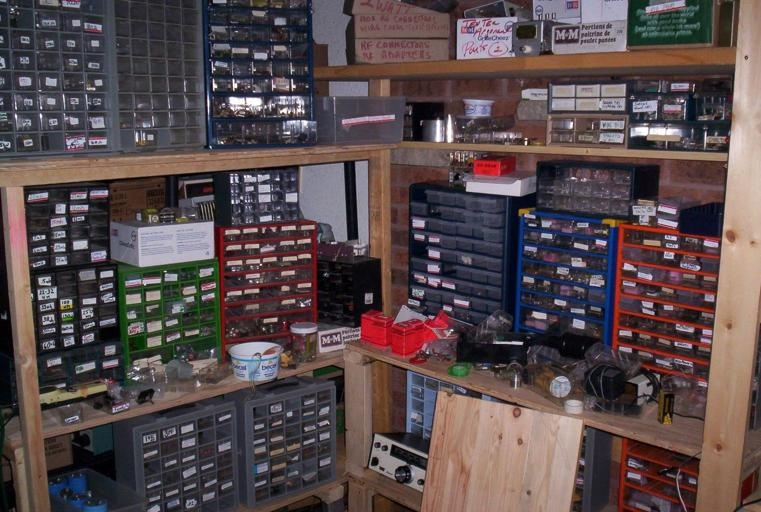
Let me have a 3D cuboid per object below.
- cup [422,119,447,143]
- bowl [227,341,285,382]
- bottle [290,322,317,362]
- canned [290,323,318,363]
[{"bbox_3d":[0.295,-0.702,3.532,0.161,0.136,0.135,0,12,-5],"label":"cup"},{"bbox_3d":[-0.669,0.560,3.324,0.239,0.105,0.227,1,8,0],"label":"bowl"},{"bbox_3d":[-0.431,0.472,3.513,0.203,0.192,0.192,-5,11,-24],"label":"bottle"},{"bbox_3d":[-0.425,0.488,3.581,0.206,0.194,0.194,-4,11,-21],"label":"canned"}]
